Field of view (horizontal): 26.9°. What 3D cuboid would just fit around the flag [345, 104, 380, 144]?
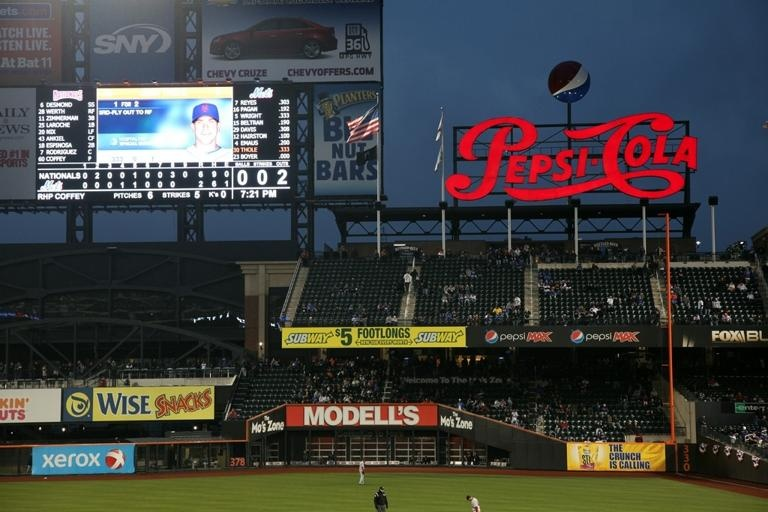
[{"bbox_3d":[-1.545,-10.105,130.062,3.432,3.663,0.546,-1,-8,7],"label":"flag"}]
